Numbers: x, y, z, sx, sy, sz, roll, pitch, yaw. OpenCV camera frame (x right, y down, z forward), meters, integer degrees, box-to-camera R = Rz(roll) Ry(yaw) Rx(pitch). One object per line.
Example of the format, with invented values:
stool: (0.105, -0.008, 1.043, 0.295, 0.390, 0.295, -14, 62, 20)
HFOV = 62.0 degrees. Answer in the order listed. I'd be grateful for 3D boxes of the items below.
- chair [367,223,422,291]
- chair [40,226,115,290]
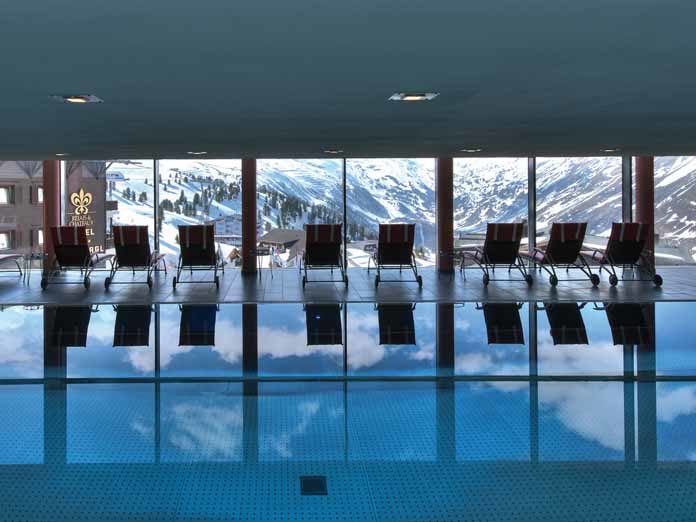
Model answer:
chair: (0.853, -0.266, 11.130, 0.778, 0.823, 1.485, 0, 9, -1)
chair: (-5.109, -0.111, 10.848, 0.919, 1.015, 1.691, -1, 3, 0)
